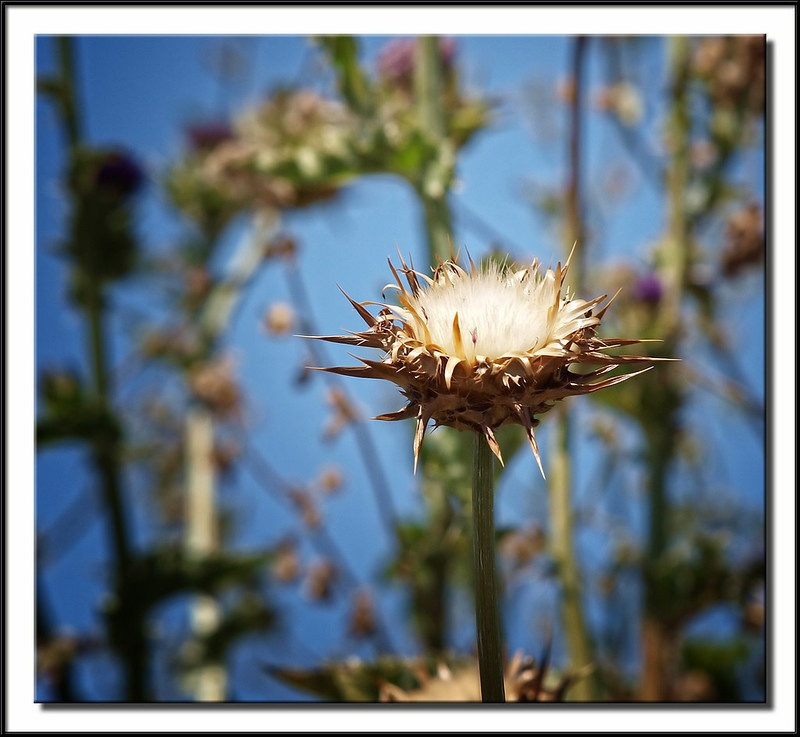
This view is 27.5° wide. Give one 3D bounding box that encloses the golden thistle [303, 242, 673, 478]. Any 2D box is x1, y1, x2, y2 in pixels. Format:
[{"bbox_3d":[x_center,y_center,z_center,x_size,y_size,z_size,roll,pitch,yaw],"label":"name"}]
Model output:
[{"bbox_3d":[0.158,-0.031,3.498,0.555,0.681,0.344,5,-70,33],"label":"golden thistle"}]
